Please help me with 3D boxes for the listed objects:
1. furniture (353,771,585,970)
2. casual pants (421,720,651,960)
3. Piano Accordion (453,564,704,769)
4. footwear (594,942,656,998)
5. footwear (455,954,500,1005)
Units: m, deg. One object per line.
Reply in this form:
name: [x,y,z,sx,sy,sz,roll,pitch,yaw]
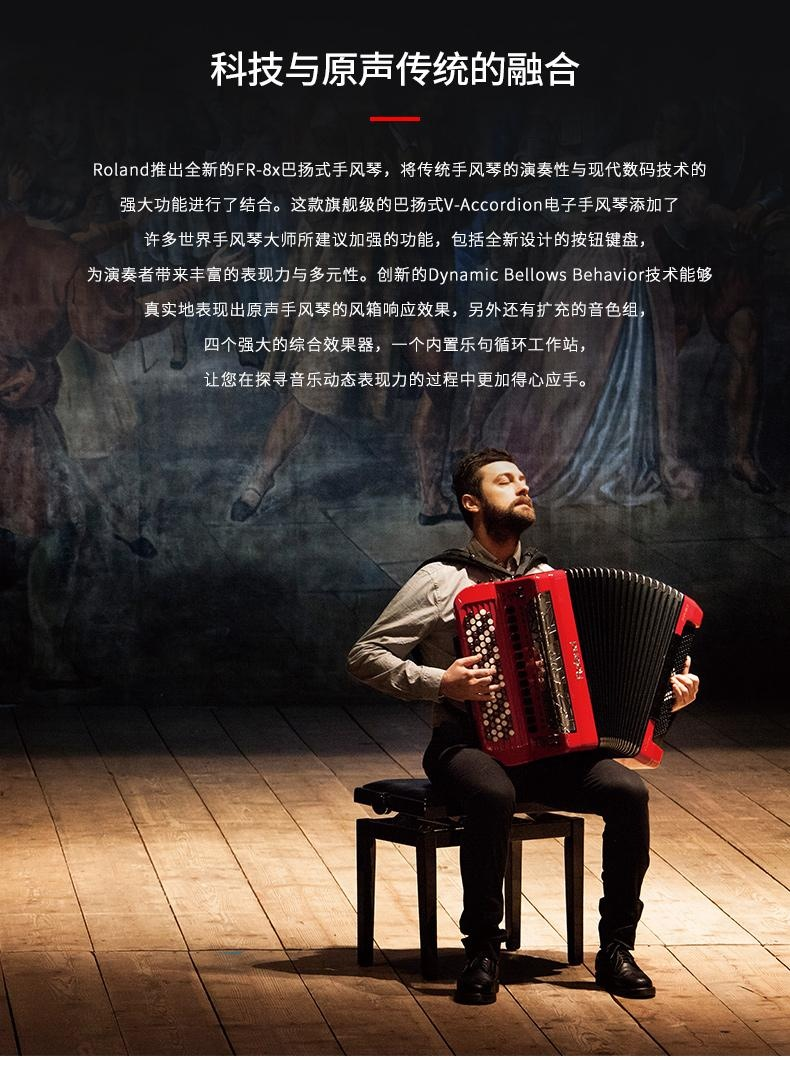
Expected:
furniture: [0.103,0.679,2.124,0.497,0.421,0.351,4,-12,-17]
casual pants: [0.249,0.527,1.872,0.328,0.388,0.316,-1,4,-11]
Piano Accordion: [0.319,0.241,1.857,0.471,0.370,0.231,0,-14,-29]
footwear: [0.393,0.743,1.772,0.055,0.053,0.138,-2,-7,-17]
footwear: [0.138,0.731,1.719,0.072,0.081,0.082,0,3,3]
